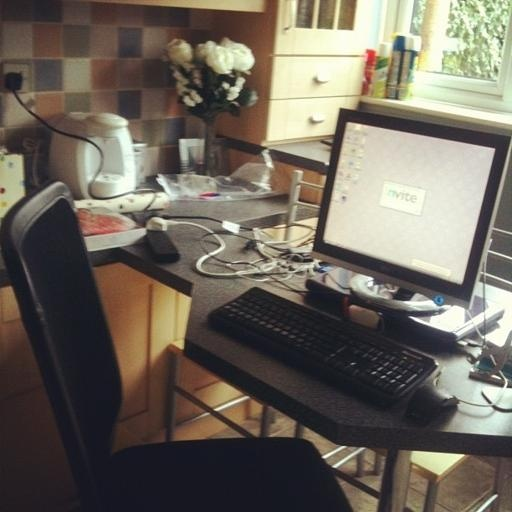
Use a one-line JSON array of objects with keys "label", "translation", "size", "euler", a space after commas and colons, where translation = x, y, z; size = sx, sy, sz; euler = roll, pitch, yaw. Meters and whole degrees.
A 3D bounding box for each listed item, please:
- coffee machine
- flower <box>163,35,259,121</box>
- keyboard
[{"label": "coffee machine", "translation": [-0.535, -0.337, 1.665], "size": [0.270, 0.290, 0.196], "euler": [-15, 30, -34]}, {"label": "flower", "translation": [-0.185, -0.689, 1.955], "size": [0.384, 0.303, 0.294], "euler": [-14, 27, -34]}, {"label": "keyboard", "translation": [0.115, 0.151, 0.950], "size": [0.388, 0.026, 0.149], "euler": [21, 31, 26]}]
